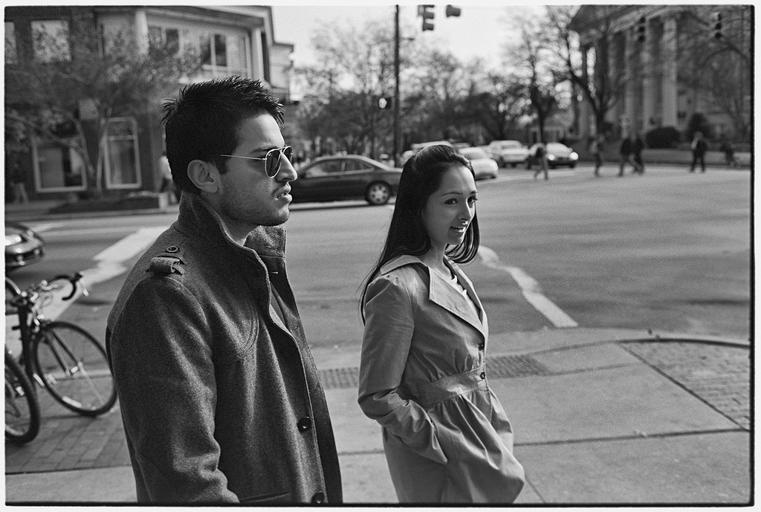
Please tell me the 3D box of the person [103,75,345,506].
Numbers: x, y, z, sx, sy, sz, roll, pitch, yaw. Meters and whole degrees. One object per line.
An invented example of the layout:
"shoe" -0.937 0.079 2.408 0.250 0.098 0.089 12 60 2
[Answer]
"person" -0.812 0.224 4.060 0.958 2.128 0.644 -6 11 -21

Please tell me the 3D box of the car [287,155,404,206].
"car" -0.561 -1.444 16.153 2.427 0.896 1.061 2 6 14

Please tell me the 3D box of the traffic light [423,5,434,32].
"traffic light" 0.360 -1.762 6.157 0.096 0.179 0.291 -1 11 3

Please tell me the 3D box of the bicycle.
"bicycle" -2.910 0.803 7.538 0.876 1.384 1.111 -5 12 -19

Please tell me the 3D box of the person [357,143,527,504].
"person" 0.322 0.410 4.756 0.901 2.019 0.571 -2 11 -2
